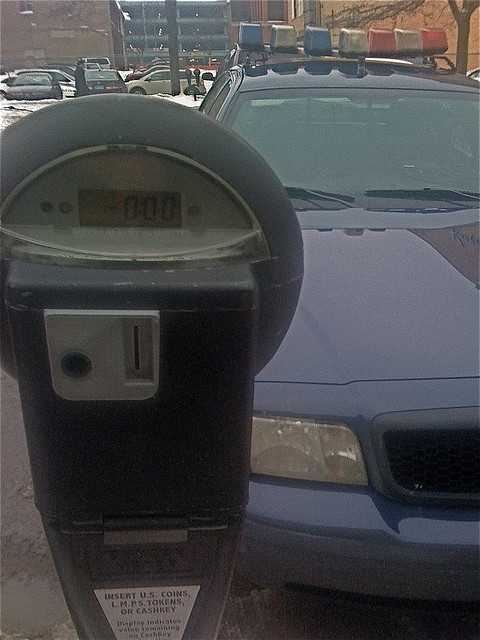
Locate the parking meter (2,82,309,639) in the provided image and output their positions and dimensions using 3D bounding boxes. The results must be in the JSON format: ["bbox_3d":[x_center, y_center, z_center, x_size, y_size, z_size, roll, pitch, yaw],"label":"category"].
[{"bbox_3d":[-0.164,0.158,1.297,0.535,1.095,0.333,3,18,10],"label":"parking meter"}]
